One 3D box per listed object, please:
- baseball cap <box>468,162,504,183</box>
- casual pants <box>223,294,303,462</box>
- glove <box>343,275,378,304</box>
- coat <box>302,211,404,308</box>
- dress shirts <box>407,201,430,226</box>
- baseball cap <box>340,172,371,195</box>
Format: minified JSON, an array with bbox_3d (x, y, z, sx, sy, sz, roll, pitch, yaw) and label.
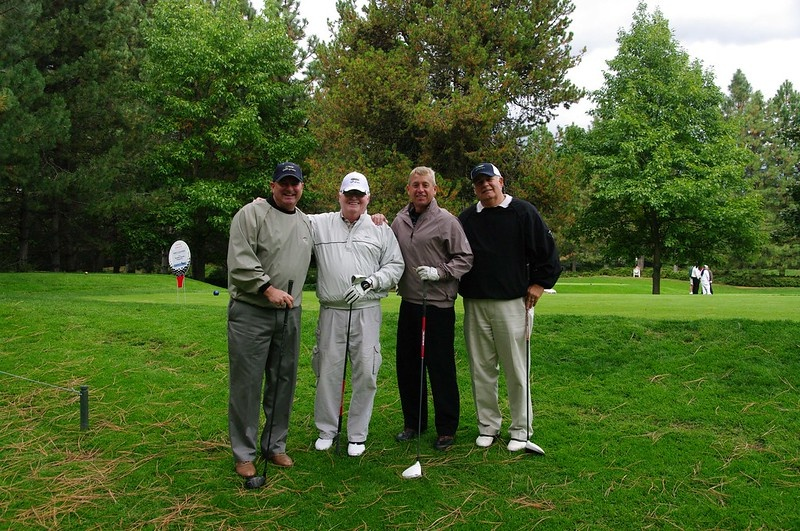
[{"bbox_3d":[1.364,-1.487,9.646,0.409,0.293,0.406,3,0,9],"label":"baseball cap"},{"bbox_3d":[-2.057,1.693,9.036,1.028,2.406,0.265,3,0,-16],"label":"casual pants"},{"bbox_3d":[-0.607,0.377,9.195,0.436,0.436,0.208,41,-5,-24],"label":"glove"},{"bbox_3d":[-0.782,-0.115,9.936,2.130,1.683,1.282,4,-5,-8],"label":"coat"},{"bbox_3d":[0.240,-0.815,9.824,0.288,0.374,0.147,2,-14,11],"label":"dress shirts"},{"bbox_3d":[-0.691,-1.287,9.428,0.419,0.361,0.260,3,0,-7],"label":"baseball cap"}]
